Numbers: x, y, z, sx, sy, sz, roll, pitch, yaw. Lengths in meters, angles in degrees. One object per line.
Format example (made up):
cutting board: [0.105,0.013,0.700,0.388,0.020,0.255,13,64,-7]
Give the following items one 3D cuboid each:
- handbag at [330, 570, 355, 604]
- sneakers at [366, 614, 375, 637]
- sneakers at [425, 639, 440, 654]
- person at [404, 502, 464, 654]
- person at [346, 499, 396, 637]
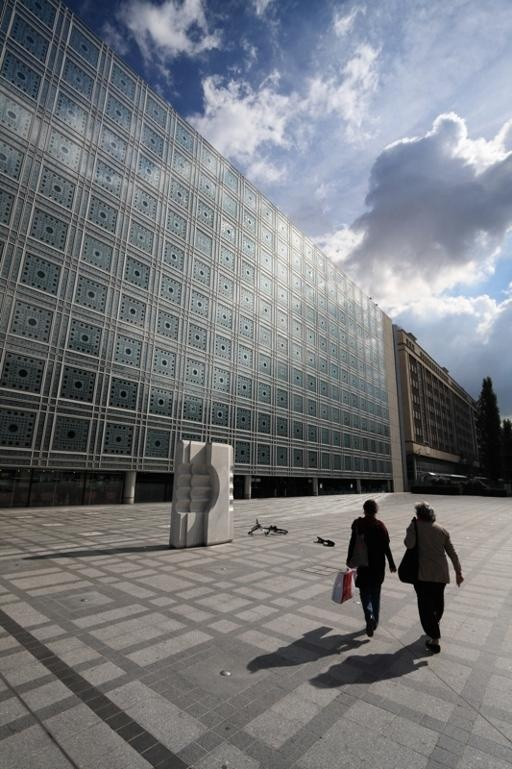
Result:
handbag: [1.089,2.569,4.357,0.190,0.474,0.425,-5,-13,32]
sneakers: [1.403,2.933,4.151,0.101,0.243,0.099,-4,32,2]
sneakers: [1.971,2.913,3.810,0.089,0.066,0.171,-1,-10,4]
person: [2.064,2.257,4.065,0.673,1.576,0.557,2,-12,5]
person: [1.489,2.336,4.473,0.603,1.589,0.564,-1,-12,18]
